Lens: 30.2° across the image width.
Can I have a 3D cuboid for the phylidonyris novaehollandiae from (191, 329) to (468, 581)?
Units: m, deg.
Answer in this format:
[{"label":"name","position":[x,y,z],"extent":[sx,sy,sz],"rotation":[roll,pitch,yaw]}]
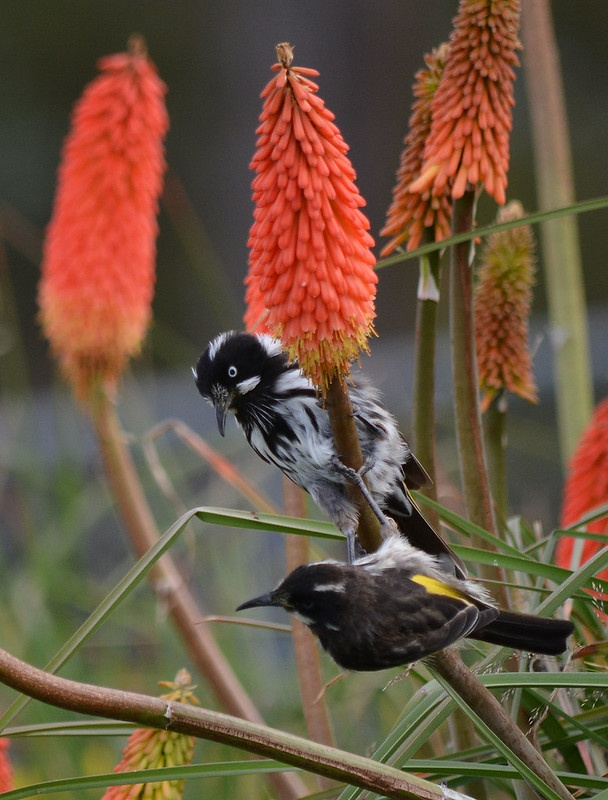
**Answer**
[{"label":"phylidonyris novaehollandiae","position":[0.043,0.081,1.401],"extent":[0.410,0.256,0.149],"rotation":[15,-29,-35]}]
